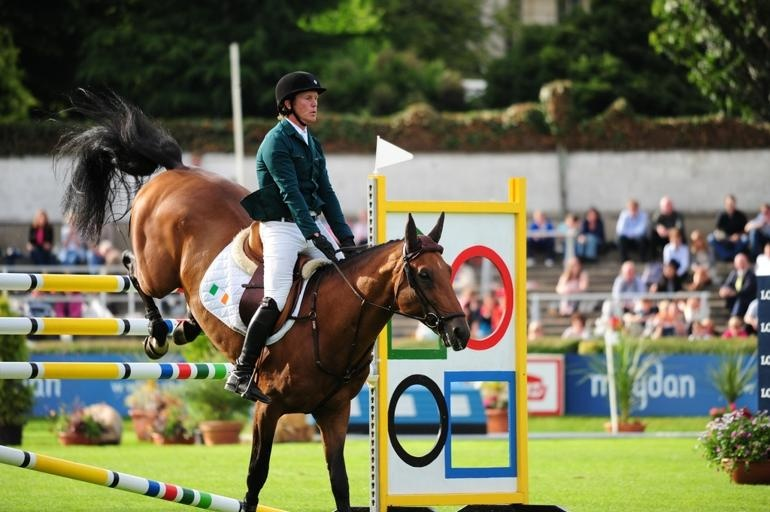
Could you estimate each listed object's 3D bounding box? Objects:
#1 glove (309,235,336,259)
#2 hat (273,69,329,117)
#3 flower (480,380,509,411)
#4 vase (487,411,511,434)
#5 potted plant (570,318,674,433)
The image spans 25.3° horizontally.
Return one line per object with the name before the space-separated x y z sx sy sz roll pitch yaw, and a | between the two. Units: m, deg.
glove | -0.880 -0.149 25.499 0.448 0.238 0.158 45 -30 -17
hat | -1.249 -2.397 25.790 0.710 0.577 0.548 10 -12 2
flower | 2.078 2.541 32.154 0.632 0.487 0.345 0 6 27
vase | 2.163 2.992 32.047 0.496 0.384 0.507 0 -1 20
potted plant | 4.090 1.987 29.018 0.846 1.328 3.705 -2 5 8
